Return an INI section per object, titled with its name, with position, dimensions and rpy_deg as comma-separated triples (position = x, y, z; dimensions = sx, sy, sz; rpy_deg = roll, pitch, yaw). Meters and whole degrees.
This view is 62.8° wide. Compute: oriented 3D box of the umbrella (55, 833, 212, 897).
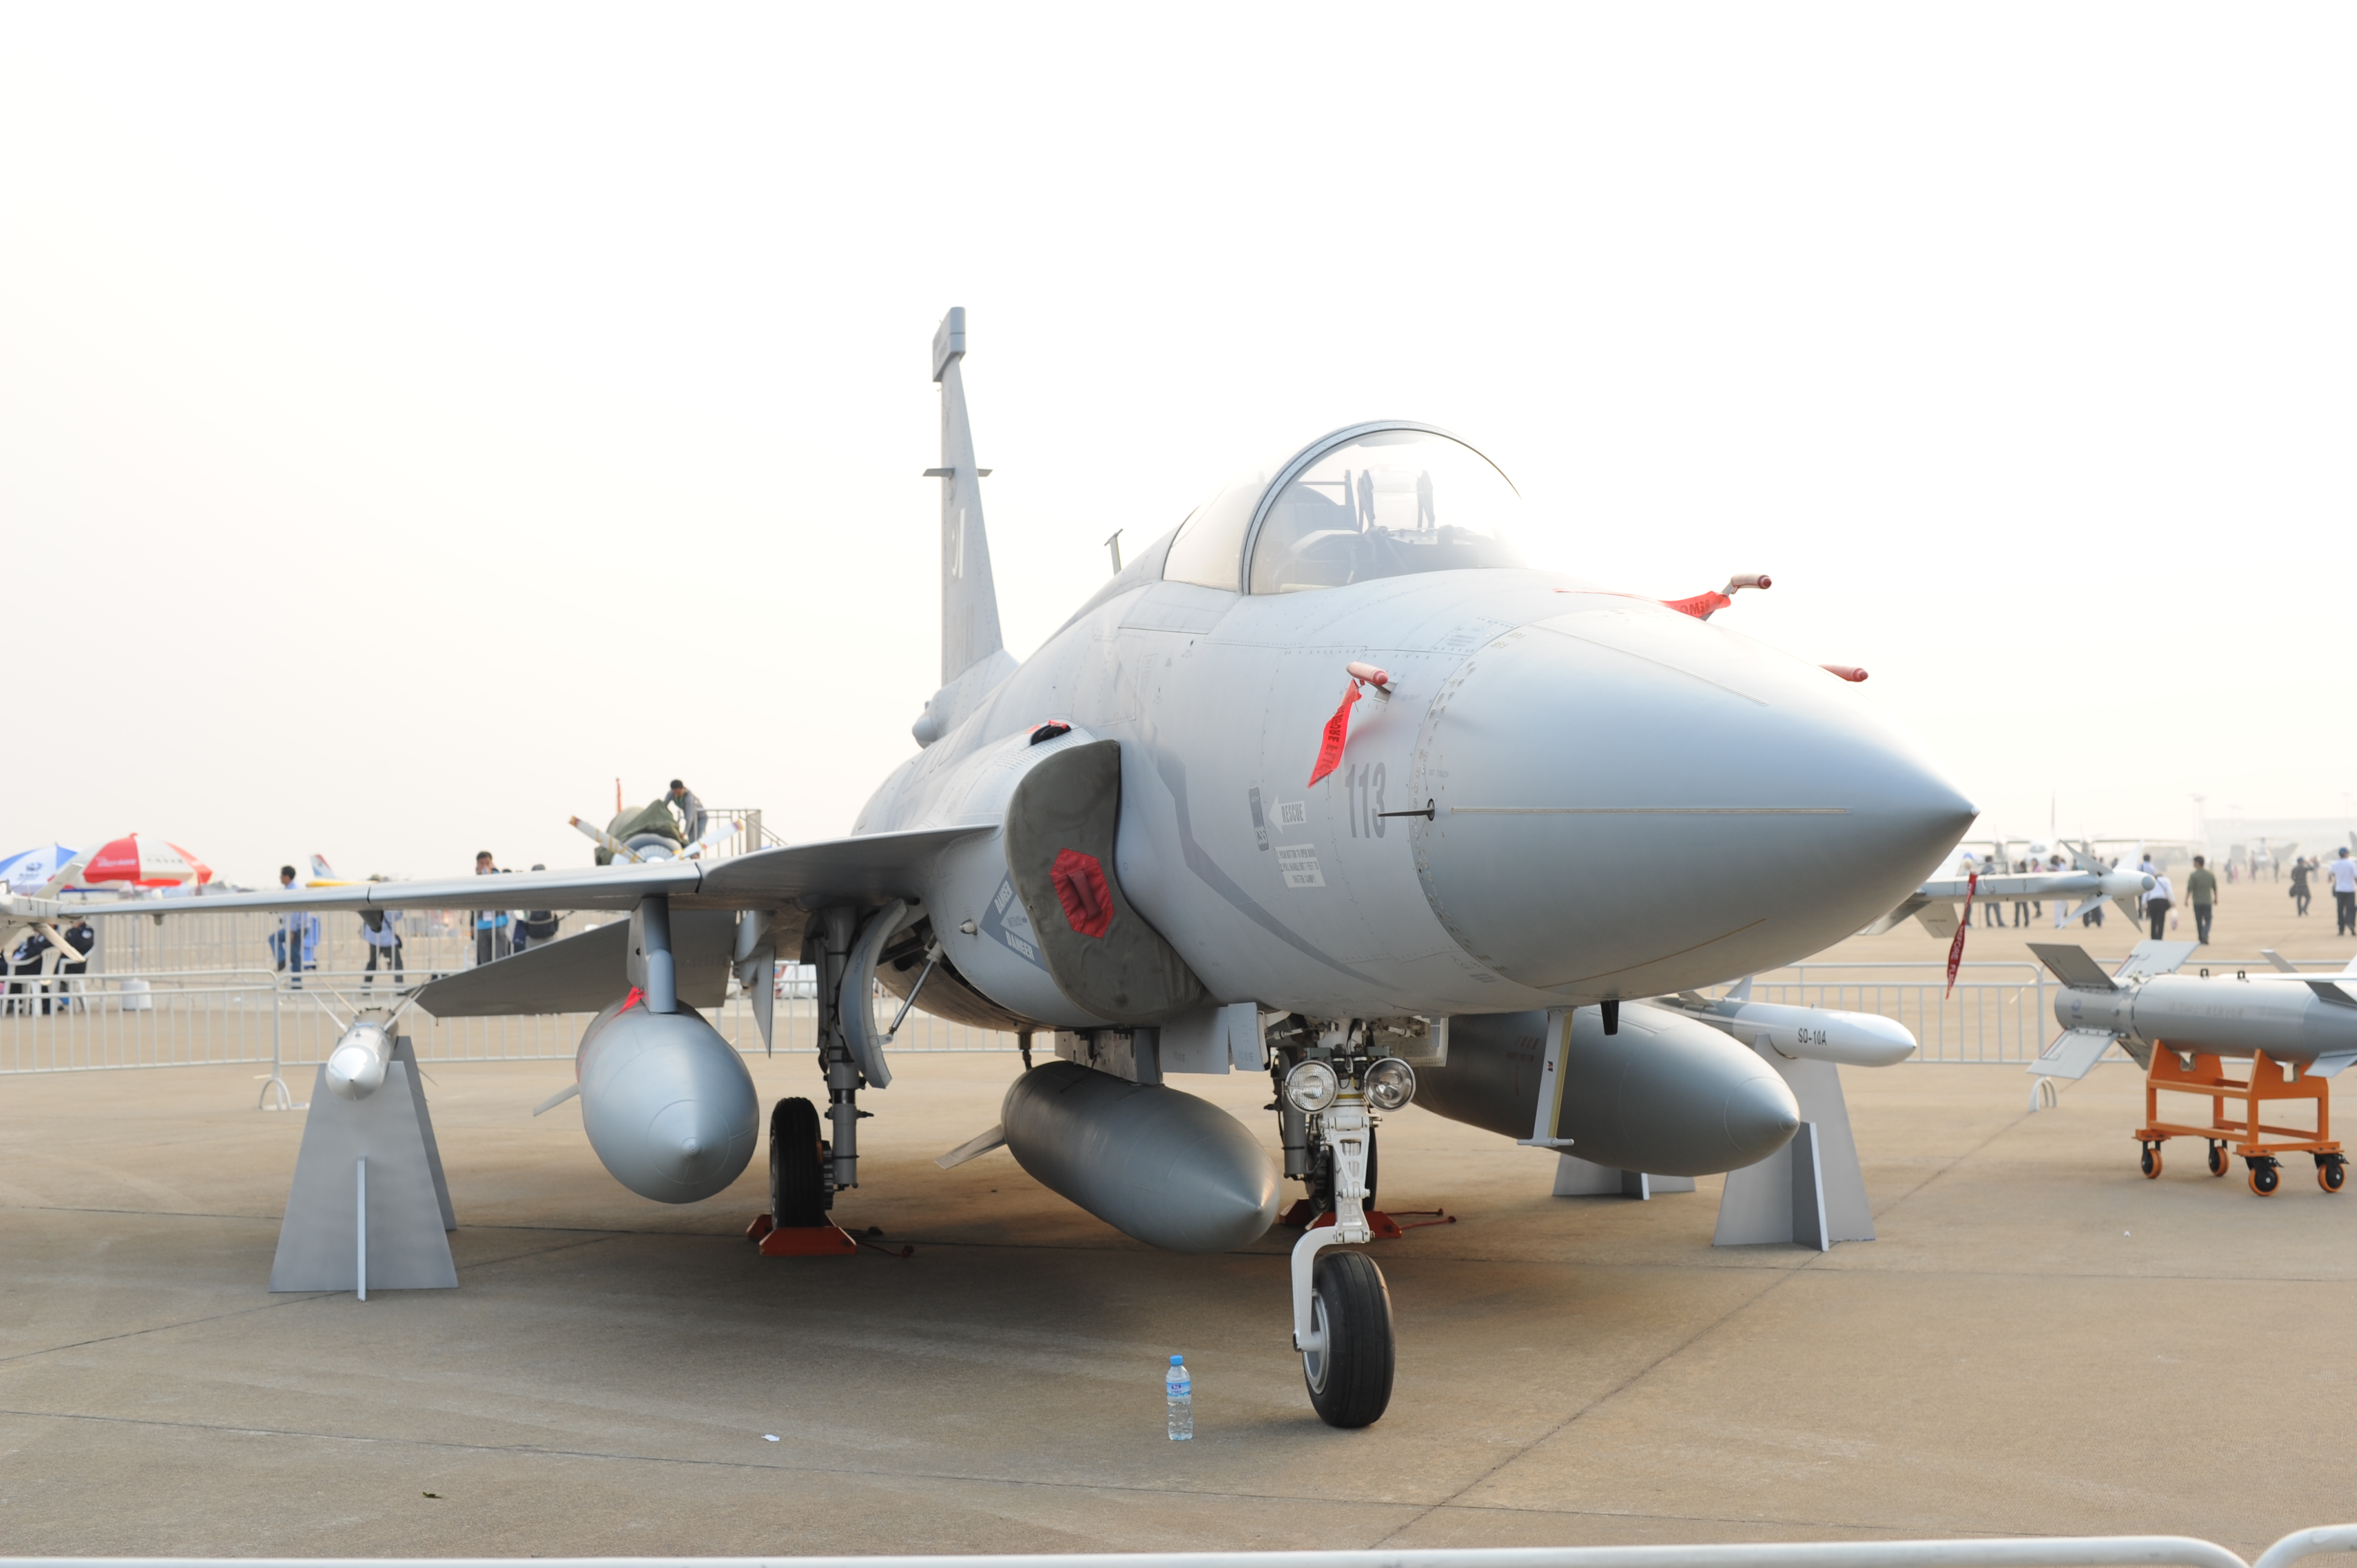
[umbrella]
position = -15.003, 1.228, 27.269
dimensions = 2.438, 0.749, 2.094
rpy_deg = -1, -4, 1

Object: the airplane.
[airplane]
position = -0.505, 0.472, 9.724
dimensions = 7.375, 3.105, 7.694
rpy_deg = -2, 1, -30
